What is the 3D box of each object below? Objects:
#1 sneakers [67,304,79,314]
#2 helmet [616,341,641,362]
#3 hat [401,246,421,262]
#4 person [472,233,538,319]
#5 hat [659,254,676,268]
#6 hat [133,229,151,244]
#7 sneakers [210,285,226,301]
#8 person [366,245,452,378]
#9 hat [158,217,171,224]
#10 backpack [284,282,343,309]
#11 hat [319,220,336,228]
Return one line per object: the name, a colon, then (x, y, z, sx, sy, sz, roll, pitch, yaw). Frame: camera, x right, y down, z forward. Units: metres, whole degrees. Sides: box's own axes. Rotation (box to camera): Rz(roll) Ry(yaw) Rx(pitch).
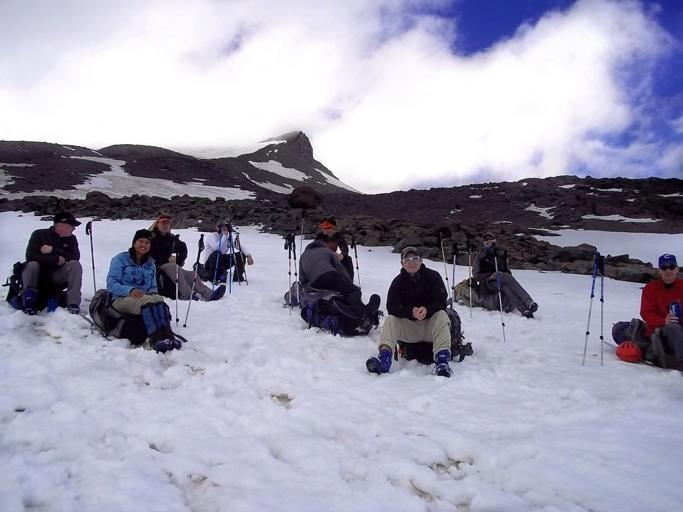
sneakers: (-5.082, 1.006, 9.358, 0.219, 0.207, 0.131, 1, -7, -15)
helmet: (5.092, 1.656, 8.628, 0.372, 0.320, 0.271, -17, 15, -13)
hat: (1.308, -0.041, 9.294, 0.540, 0.231, 0.812, -3, -8, 5)
person: (3.903, 0.431, 11.908, 0.646, 1.548, 1.537, 5, -2, -35)
hat: (5.654, 0.110, 8.505, 0.215, 0.184, 0.351, -14, -21, 37)
hat: (-3.683, -0.366, 9.030, 0.249, 0.276, 0.331, 6, 4, -15)
sneakers: (-3.054, 0.926, 12.123, 0.204, 0.496, 0.166, 3, -33, 35)
person: (1.330, 0.925, 8.541, 1.239, 1.886, 1.028, 3, -1, 11)
hat: (-4.105, -0.863, 11.388, 0.270, 0.161, 0.360, 4, -2, -22)
backpack: (-0.757, 0.912, 10.321, 0.910, 0.371, 0.728, -1, 1, 3)
hat: (-0.286, -0.691, 10.675, 0.292, 0.181, 0.390, 4, -2, -7)
